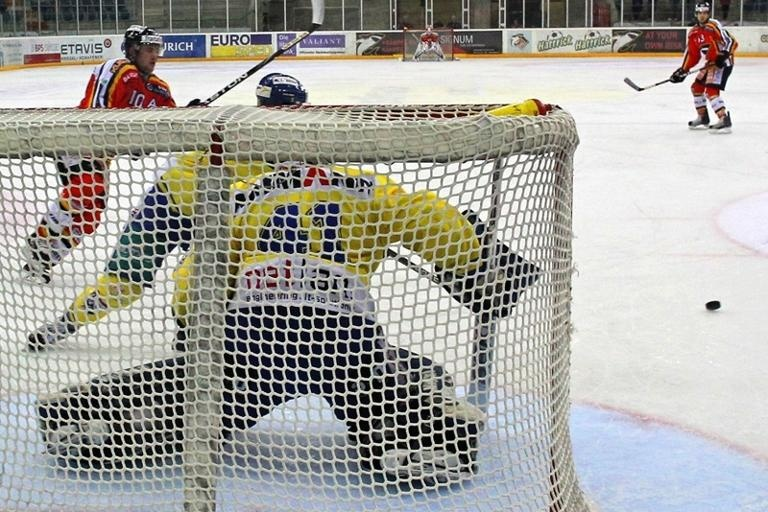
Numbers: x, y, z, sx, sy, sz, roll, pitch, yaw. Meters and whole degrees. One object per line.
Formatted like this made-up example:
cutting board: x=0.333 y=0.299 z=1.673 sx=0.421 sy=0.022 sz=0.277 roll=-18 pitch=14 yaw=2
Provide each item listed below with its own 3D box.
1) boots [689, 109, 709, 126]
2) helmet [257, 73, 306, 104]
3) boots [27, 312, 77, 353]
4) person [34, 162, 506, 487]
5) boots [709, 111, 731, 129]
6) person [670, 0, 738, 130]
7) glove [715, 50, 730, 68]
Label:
boots: x=3.082 y=-1.345 z=9.069 sx=0.195 sy=0.221 sz=0.374 roll=3 pitch=11 yaw=18
helmet: x=-0.361 y=-0.581 z=3.323 sx=0.127 sy=0.111 sz=0.136 roll=4 pitch=27 yaw=-1
boots: x=-1.009 y=0.238 z=2.846 sx=0.083 sy=0.069 sz=0.193 roll=-38 pitch=13 yaw=-34
person: x=-0.256 y=0.132 z=2.784 sx=1.271 sy=0.788 sz=0.663 roll=2 pitch=13 yaw=-1
boots: x=3.116 y=-1.248 z=8.597 sx=0.184 sy=0.177 sz=0.250 roll=3 pitch=11 yaw=19
person: x=3.192 y=-1.909 z=9.265 sx=0.592 sy=1.288 sz=1.809 roll=3 pitch=11 yaw=19
glove: x=3.308 y=-1.919 z=9.070 sx=0.113 sy=0.148 sz=0.071 roll=11 pitch=-5 yaw=35
